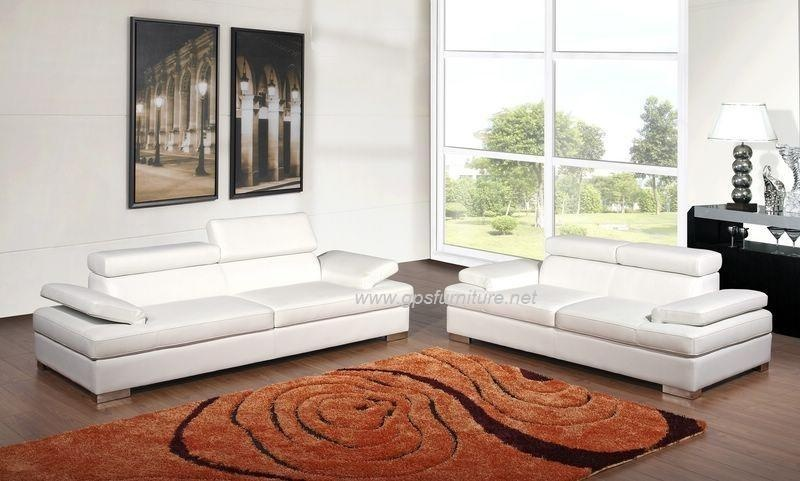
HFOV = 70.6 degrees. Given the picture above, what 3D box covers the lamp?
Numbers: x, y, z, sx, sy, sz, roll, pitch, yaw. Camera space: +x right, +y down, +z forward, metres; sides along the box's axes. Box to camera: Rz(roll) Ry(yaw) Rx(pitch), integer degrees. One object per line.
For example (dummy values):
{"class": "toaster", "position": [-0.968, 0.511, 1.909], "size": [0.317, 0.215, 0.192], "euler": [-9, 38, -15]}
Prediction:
{"class": "lamp", "position": [3.754, -0.915, 6.154], "size": [0.662, 1.130, 0.533], "euler": [-10, 15, -39]}
